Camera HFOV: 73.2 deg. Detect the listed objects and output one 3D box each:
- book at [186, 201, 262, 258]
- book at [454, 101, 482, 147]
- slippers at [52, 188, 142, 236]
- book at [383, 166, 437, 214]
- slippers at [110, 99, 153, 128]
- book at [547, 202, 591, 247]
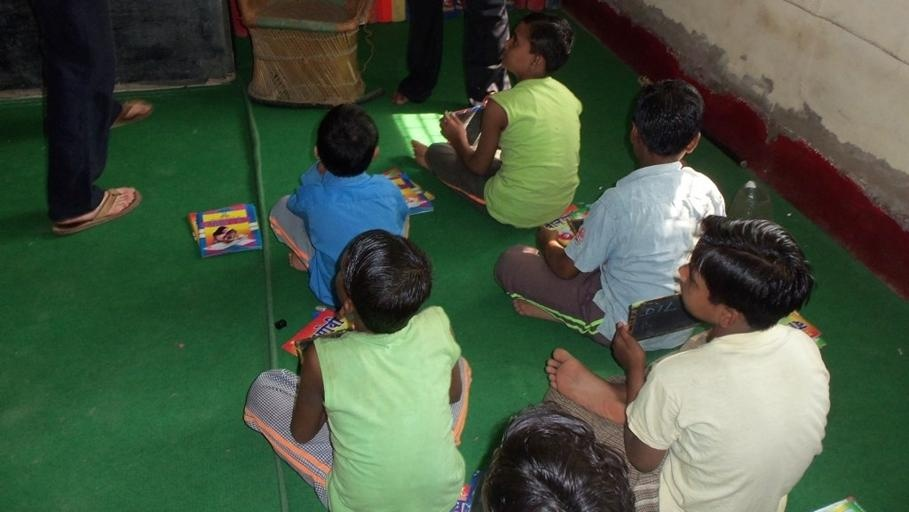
[{"bbox_3d":[-1.705,-0.194,4.565,0.494,0.179,0.384,-12,41,-16],"label":"book"},{"bbox_3d":[0.155,-1.140,5.241,0.131,0.345,0.352,10,5,7],"label":"book"},{"bbox_3d":[-2.620,-0.353,4.567,0.546,0.160,0.290,-22,58,-9],"label":"slippers"},{"bbox_3d":[-0.345,-0.526,4.951,0.374,0.107,0.369,-24,58,-37],"label":"book"},{"bbox_3d":[-2.740,-1.218,5.236,0.320,0.090,0.219,-24,61,-35],"label":"slippers"},{"bbox_3d":[0.945,-0.262,4.681,0.369,0.153,0.314,-16,32,44],"label":"book"}]
